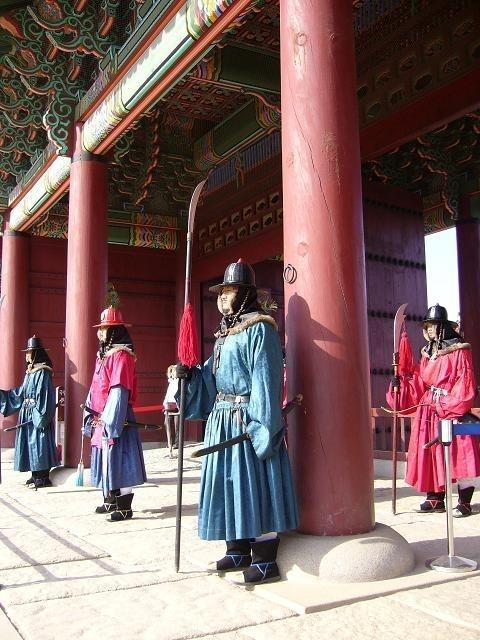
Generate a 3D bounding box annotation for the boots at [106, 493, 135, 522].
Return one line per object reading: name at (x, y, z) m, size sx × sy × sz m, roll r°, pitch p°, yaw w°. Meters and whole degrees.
boots at (-0.780, 1.221, 3.963) m, size 0.149 × 0.157 × 0.206 m, roll 1°, pitch -10°, yaw -11°

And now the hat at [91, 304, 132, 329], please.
hat at (-1.289, -0.043, 6.018) m, size 0.341 × 0.216 × 0.345 m, roll -7°, pitch -8°, yaw 30°

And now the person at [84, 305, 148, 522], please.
person at (-0.861, 0.606, 4.173) m, size 0.419 × 1.441 × 0.624 m, roll 3°, pitch -10°, yaw -21°

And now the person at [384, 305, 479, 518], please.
person at (1.300, 0.578, 4.056) m, size 0.546 × 1.383 × 0.840 m, roll -2°, pitch -10°, yaw 9°

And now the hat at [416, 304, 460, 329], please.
hat at (1.448, -0.012, 4.524) m, size 0.356 × 0.169 × 0.257 m, roll 3°, pitch -8°, yaw -11°

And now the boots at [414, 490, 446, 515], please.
boots at (1.283, 1.213, 4.034) m, size 0.210 × 0.202 × 0.095 m, roll 5°, pitch -23°, yaw 2°

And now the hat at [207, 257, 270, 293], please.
hat at (-0.017, -0.194, 2.741) m, size 0.208 × 0.130 × 0.212 m, roll 4°, pitch -4°, yaw -3°

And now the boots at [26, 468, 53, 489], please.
boots at (-1.816, 1.446, 5.529) m, size 0.225 × 0.147 × 0.292 m, roll 5°, pitch -11°, yaw -30°

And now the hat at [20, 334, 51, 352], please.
hat at (-2.578, 0.283, 7.553) m, size 0.250 × 0.148 × 0.253 m, roll -5°, pitch -5°, yaw -3°

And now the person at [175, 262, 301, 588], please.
person at (-0.029, 0.392, 2.619) m, size 0.537 × 1.336 × 0.345 m, roll -6°, pitch -11°, yaw 28°

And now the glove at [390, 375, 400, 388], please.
glove at (1.067, 0.426, 4.225) m, size 0.068 × 0.108 × 0.076 m, roll 5°, pitch -9°, yaw -14°

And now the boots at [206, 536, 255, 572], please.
boots at (-0.066, 0.986, 2.519) m, size 0.238 × 0.173 × 0.084 m, roll 2°, pitch -17°, yaw -7°

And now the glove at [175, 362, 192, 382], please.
glove at (-0.255, 0.232, 2.670) m, size 0.059 × 0.079 × 0.029 m, roll -7°, pitch -9°, yaw -33°
